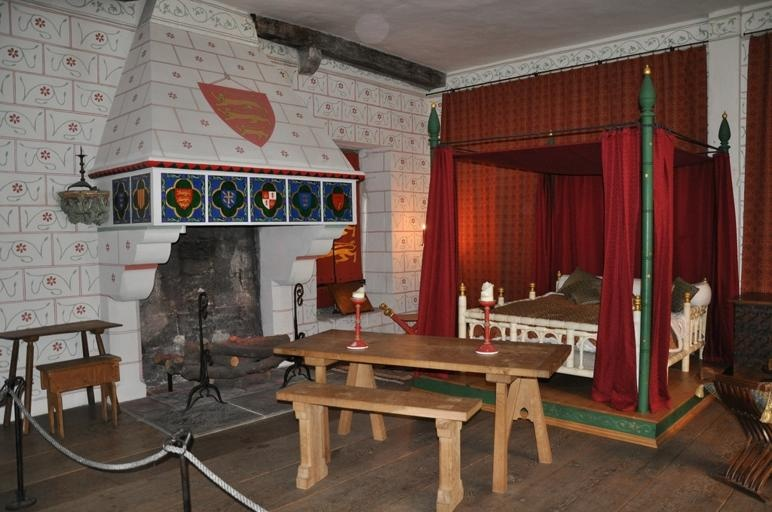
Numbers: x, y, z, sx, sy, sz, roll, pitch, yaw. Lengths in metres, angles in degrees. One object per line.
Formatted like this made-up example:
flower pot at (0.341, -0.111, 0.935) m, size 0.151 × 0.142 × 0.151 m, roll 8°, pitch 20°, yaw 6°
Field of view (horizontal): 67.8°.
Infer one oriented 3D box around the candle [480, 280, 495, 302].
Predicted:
candle at (1.008, 0.372, 5.813) m, size 0.128 × 0.185 × 0.182 m, roll -3°, pitch 1°, yaw 0°

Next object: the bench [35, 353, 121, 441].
bench at (-3.627, 1.656, 6.715) m, size 0.381 × 0.810 × 0.924 m, roll 0°, pitch 2°, yaw 41°

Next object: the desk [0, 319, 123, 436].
desk at (-3.831, 1.434, 6.687) m, size 0.569 × 1.121 × 1.361 m, roll 1°, pitch 1°, yaw 33°
